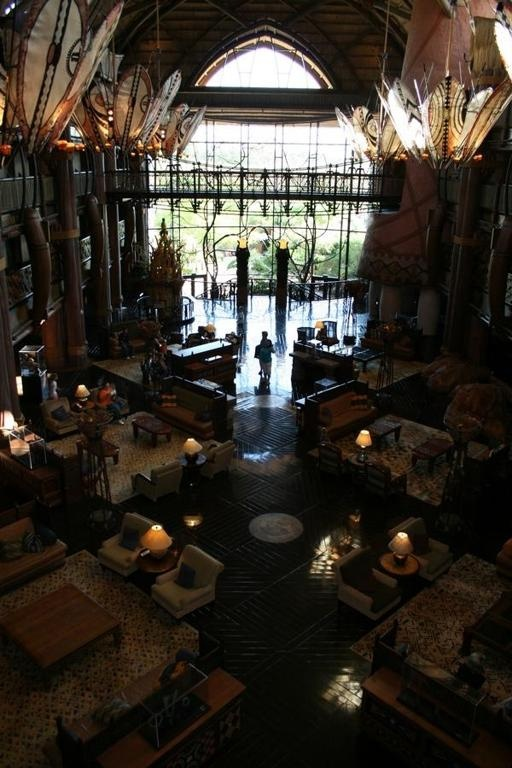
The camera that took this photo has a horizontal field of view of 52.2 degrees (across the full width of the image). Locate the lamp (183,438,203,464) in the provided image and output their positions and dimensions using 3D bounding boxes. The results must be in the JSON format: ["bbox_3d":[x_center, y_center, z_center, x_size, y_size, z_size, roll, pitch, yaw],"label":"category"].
[{"bbox_3d":[-1.066,1.126,9.088,0.307,0.432,0.470,8,16,24],"label":"lamp"}]

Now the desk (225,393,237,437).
[{"bbox_3d":[-0.550,0.692,11.280,0.276,0.855,0.764,-2,-6,0],"label":"desk"}]

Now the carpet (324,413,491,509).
[{"bbox_3d":[2.855,1.484,10.044,1.860,0.462,1.804,24,45,33],"label":"carpet"}]

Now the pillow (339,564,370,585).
[{"bbox_3d":[1.138,2.224,6.084,0.245,0.061,0.237,-4,28,18],"label":"pillow"}]

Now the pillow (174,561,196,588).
[{"bbox_3d":[-0.809,2.213,6.048,0.206,0.223,0.090,10,-1,33],"label":"pillow"}]

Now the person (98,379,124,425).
[{"bbox_3d":[-3.075,0.390,11.117,0.542,0.834,0.559,20,35,25],"label":"person"}]

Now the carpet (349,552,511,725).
[{"bbox_3d":[2.175,2.898,6.011,0.950,0.019,1.789,25,33,31],"label":"carpet"}]

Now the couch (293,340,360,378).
[{"bbox_3d":[1.684,-0.614,13.634,0.710,0.694,1.797,-12,20,-41],"label":"couch"}]

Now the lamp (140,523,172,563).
[{"bbox_3d":[-1.254,1.983,6.477,0.294,0.345,0.300,-19,40,-31],"label":"lamp"}]

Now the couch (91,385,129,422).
[{"bbox_3d":[-3.060,0.409,10.935,0.450,0.589,0.439,24,42,31],"label":"couch"}]

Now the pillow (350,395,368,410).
[{"bbox_3d":[2.289,0.409,11.620,0.287,0.290,0.089,-3,8,-13],"label":"pillow"}]

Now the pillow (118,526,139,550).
[{"bbox_3d":[-1.638,1.998,6.759,0.237,0.256,0.105,7,-15,20],"label":"pillow"}]

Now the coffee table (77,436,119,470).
[{"bbox_3d":[-2.644,1.166,8.707,0.657,0.341,0.453,13,21,25],"label":"coffee table"}]

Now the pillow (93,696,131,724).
[{"bbox_3d":[-1.065,2.443,3.906,0.195,0.079,0.228,-18,-2,-21],"label":"pillow"}]

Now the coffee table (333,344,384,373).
[{"bbox_3d":[2.773,-0.705,14.485,1.067,0.306,1.065,-21,35,-35],"label":"coffee table"}]

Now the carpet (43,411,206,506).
[{"bbox_3d":[-2.422,1.185,9.618,1.620,0.401,1.526,-24,44,-35],"label":"carpet"}]

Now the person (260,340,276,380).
[{"bbox_3d":[0.266,-0.653,13.765,0.331,1.172,0.629,1,15,0],"label":"person"}]

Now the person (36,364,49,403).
[{"bbox_3d":[-5.121,-0.018,12.641,0.192,0.759,0.476,0,15,-5],"label":"person"}]

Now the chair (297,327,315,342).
[{"bbox_3d":[1.451,-1.446,15.210,0.332,0.357,0.405,18,28,36],"label":"chair"}]

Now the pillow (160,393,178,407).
[{"bbox_3d":[-1.922,0.353,11.590,0.281,0.282,0.093,-1,-6,1],"label":"pillow"}]
